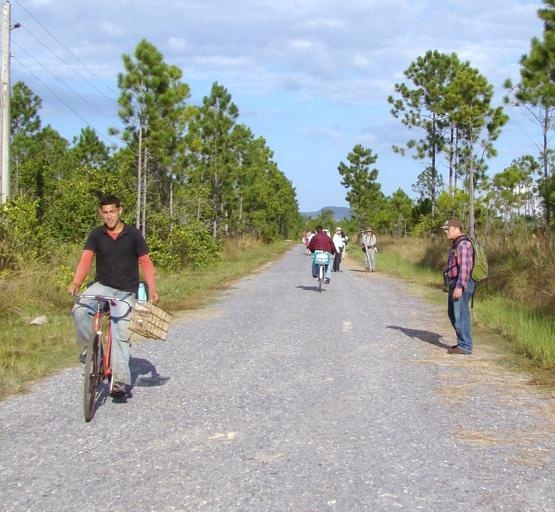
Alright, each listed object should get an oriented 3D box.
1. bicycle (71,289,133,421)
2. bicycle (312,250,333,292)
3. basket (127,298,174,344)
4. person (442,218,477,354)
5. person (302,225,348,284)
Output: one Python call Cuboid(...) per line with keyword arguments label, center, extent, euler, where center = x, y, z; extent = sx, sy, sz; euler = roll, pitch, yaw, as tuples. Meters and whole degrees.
Cuboid(label="bicycle", center=(-1.842, 0.978, 7.404), extent=(0.489, 1.185, 0.931), euler=(1, 4, 11))
Cuboid(label="bicycle", center=(1.202, 0.268, 19.730), extent=(0.451, 0.657, 1.008), euler=(1, 0, 1))
Cuboid(label="basket", center=(-1.353, 0.674, 7.860), extent=(0.317, 0.453, 0.597), euler=(18, -7, -2))
Cuboid(label="person", center=(2.608, 0.426, 10.472), extent=(0.428, 1.892, 0.653), euler=(1, 4, 9))
Cuboid(label="person", center=(1.220, -0.134, 20.580), extent=(0.783, 1.125, 1.747), euler=(0, 9, 0))
